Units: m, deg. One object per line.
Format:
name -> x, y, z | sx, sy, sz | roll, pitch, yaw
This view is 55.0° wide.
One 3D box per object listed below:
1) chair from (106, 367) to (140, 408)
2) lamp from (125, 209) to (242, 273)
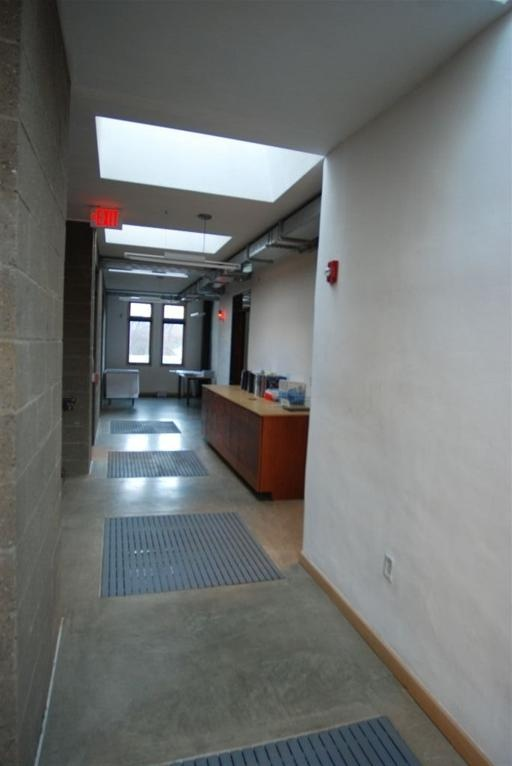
chair -> -2.966, 0.049, 10.829 | 0.673, 0.952, 0.816 | 1, 9, -10
lamp -> -0.745, -1.659, 5.945 | 1.107, 0.776, 2.500 | 2, 3, -3
